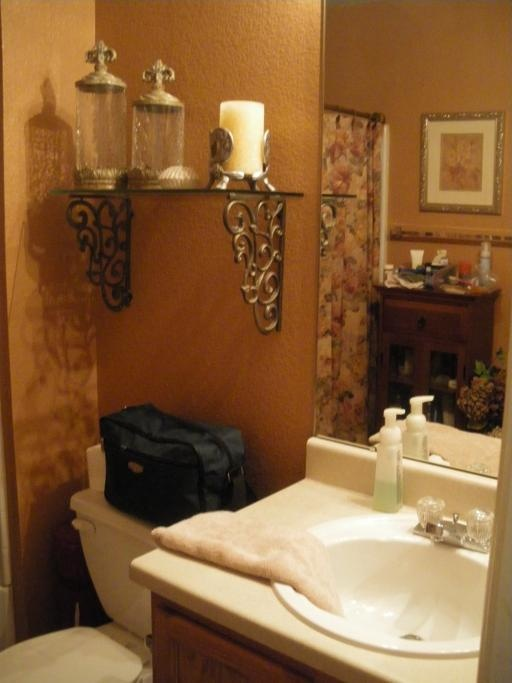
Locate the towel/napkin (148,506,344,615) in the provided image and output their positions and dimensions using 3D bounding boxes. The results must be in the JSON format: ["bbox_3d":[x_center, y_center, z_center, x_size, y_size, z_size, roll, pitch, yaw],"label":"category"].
[{"bbox_3d":[-0.006,0.310,0.921,0.313,0.066,0.150,8,14,33],"label":"towel/napkin"}]

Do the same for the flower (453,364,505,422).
[{"bbox_3d":[0.387,0.096,1.053,0.055,0.103,0.068,3,-24,12],"label":"flower"}]

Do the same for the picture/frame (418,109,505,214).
[{"bbox_3d":[0.353,-0.307,1.041,0.131,0.196,0.012,8,11,44],"label":"picture/frame"}]

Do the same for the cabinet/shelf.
[{"bbox_3d":[0.320,0.058,1.167,0.154,0.332,0.094,7,16,28],"label":"cabinet/shelf"}]

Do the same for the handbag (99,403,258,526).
[{"bbox_3d":[-0.172,0.217,1.380,0.295,0.240,0.194,6,8,35],"label":"handbag"}]

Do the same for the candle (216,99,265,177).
[{"bbox_3d":[-0.032,-0.370,1.109,0.074,0.142,0.107,6,12,32],"label":"candle"}]
